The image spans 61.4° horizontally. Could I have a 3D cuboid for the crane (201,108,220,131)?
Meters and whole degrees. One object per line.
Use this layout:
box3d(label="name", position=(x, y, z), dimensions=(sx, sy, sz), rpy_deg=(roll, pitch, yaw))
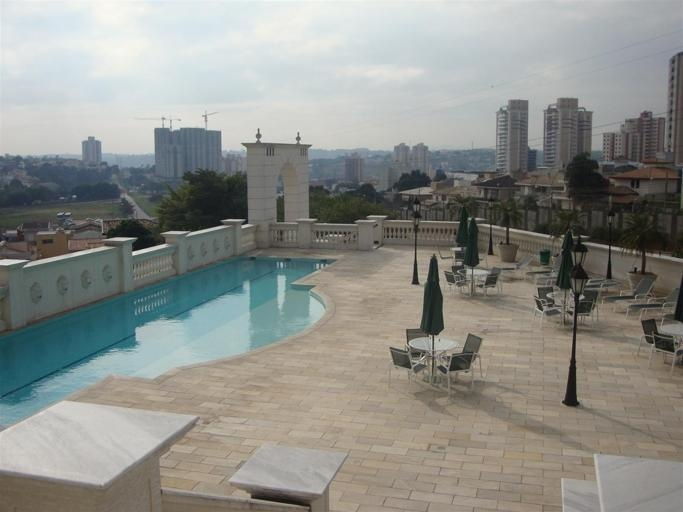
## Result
box3d(label="crane", position=(-34.281, -34.579, 148.102), dimensions=(4.716, 5.140, 4.826), rpy_deg=(9, 17, 30))

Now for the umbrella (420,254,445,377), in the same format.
box3d(label="umbrella", position=(1.847, 1.342, 11.760), dimensions=(0.423, 2.149, 1.154), rpy_deg=(0, 11, 8))

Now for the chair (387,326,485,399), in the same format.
box3d(label="chair", position=(1.972, 2.151, 11.536), dimensions=(1.331, 0.673, 1.485), rpy_deg=(3, 6, 25))

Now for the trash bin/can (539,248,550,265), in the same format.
box3d(label="trash bin/can", position=(8.051, 0.032, 22.755), dimensions=(0.535, 0.601, 0.539), rpy_deg=(0, 7, 18))

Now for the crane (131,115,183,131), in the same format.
box3d(label="crane", position=(-50.998, -38.252, 164.394), dimensions=(4.583, 5.287, 25.064), rpy_deg=(-7, 12, -27))
